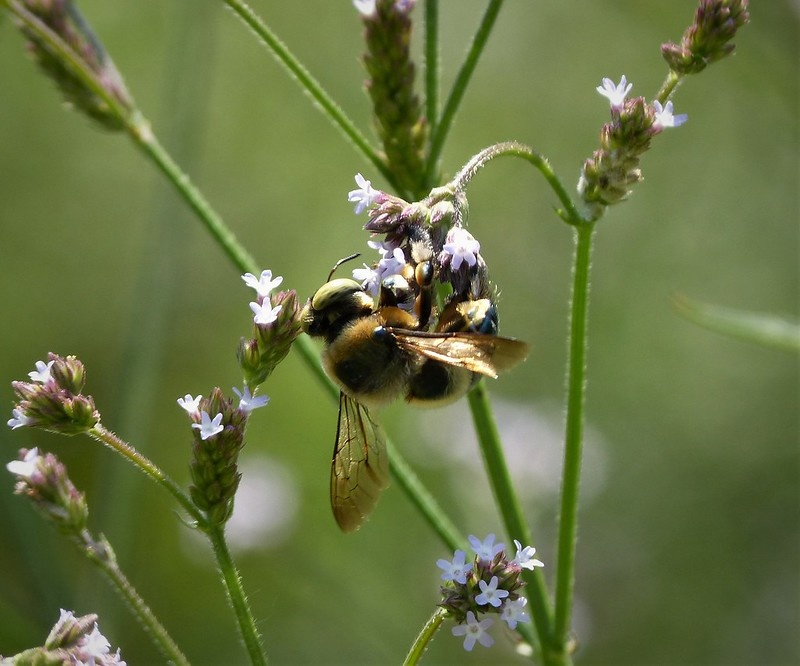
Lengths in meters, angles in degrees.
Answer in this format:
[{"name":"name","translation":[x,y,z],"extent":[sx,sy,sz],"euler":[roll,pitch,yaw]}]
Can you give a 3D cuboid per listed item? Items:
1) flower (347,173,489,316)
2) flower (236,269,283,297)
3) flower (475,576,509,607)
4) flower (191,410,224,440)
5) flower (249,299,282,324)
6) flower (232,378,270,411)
[{"name":"flower","translation":[0.047,-0.197,2.305],"extent":[0.267,0.329,0.146],"euler":[-44,-35,-28]},{"name":"flower","translation":[-0.408,-0.145,2.664],"extent":[0.103,0.054,0.109],"euler":[0,-23,4]},{"name":"flower","translation":[0.213,0.602,2.120],"extent":[0.082,0.031,0.065],"euler":[4,-74,-4]},{"name":"flower","translation":[-0.466,0.219,2.222],"extent":[0.067,0.060,0.064],"euler":[-13,-73,1]},{"name":"flower","translation":[-0.338,-0.054,2.300],"extent":[0.075,0.079,0.060],"euler":[14,-73,-7]},{"name":"flower","translation":[-0.366,0.155,2.307],"extent":[0.032,0.110,0.097],"euler":[-12,-73,-38]}]
